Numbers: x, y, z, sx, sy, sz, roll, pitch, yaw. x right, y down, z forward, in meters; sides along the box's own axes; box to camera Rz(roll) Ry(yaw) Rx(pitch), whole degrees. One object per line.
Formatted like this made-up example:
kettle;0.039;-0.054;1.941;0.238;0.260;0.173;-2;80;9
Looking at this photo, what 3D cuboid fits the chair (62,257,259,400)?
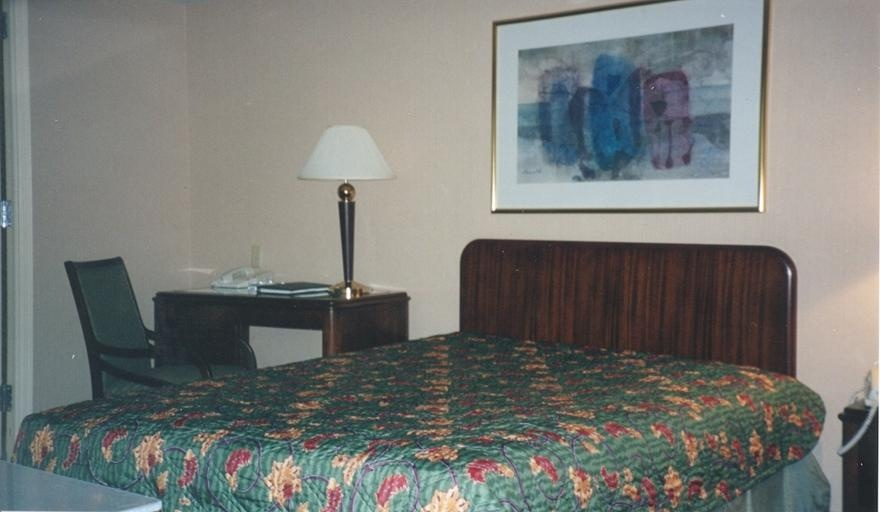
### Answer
chair;-1.850;0.757;6.330;1.077;1.485;0.854;4;10;14
